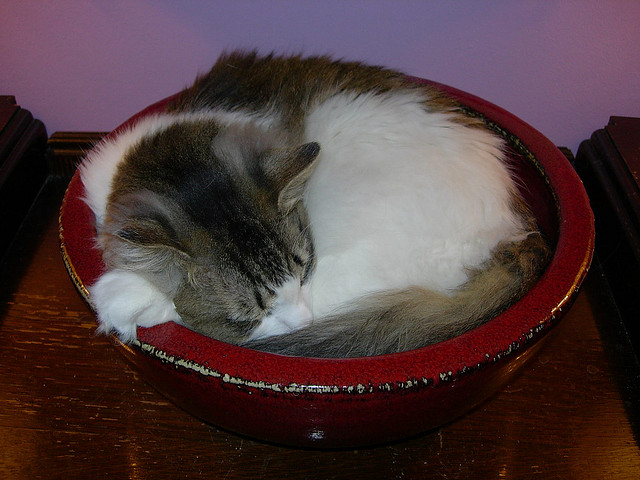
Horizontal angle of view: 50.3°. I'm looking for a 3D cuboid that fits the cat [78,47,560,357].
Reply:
[{"bbox_3d":[0.004,-0.068,1.355,0.690,0.333,0.598,11,59,13],"label":"cat"}]
